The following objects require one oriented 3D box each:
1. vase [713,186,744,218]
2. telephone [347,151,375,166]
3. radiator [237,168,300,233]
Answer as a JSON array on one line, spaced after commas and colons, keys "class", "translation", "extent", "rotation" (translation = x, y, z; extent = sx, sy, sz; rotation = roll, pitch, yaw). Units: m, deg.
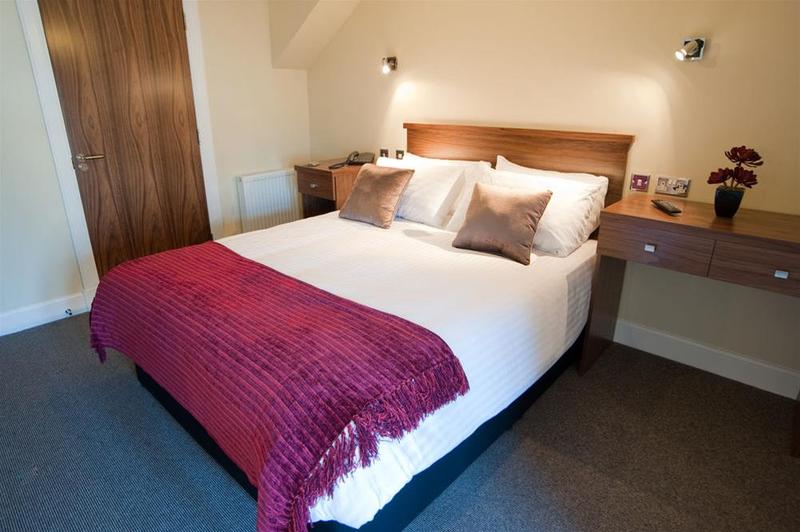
[{"class": "vase", "translation": [1.930, -0.390, 3.017], "extent": [0.175, 0.222, 0.177], "rotation": [-9, 13, -40]}, {"class": "telephone", "translation": [-0.370, -0.982, 4.581], "extent": [0.182, 0.072, 0.199], "rotation": [9, 27, 16]}, {"class": "radiator", "translation": [-1.279, -0.656, 4.892], "extent": [0.546, 0.642, 0.409], "rotation": [-14, 25, -38]}]
